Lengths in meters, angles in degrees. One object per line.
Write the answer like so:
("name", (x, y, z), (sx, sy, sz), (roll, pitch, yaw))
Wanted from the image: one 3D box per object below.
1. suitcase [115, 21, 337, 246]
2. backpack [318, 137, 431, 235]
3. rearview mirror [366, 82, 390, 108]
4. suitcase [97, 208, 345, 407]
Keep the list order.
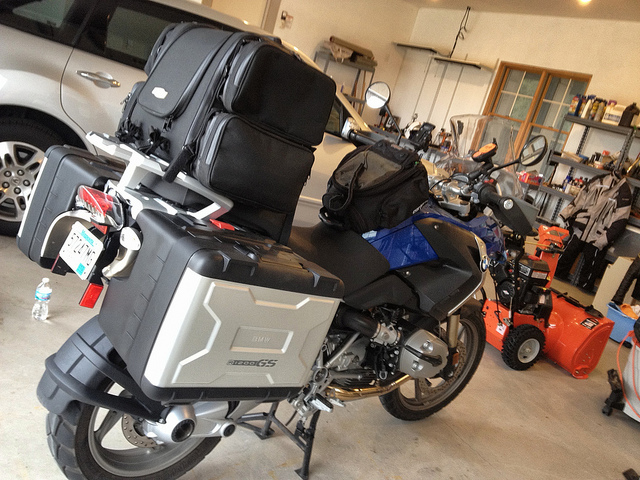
("suitcase", (-0.520, -0.588, 2.072), (0.690, 0.758, 0.556), (4, -28, 31))
("backpack", (0.278, -0.280, 2.344), (0.493, 0.283, 0.666), (25, 49, 34))
("rearview mirror", (0.319, -0.803, 2.512), (0.123, 0.141, 0.076), (17, 13, 0))
("suitcase", (-0.348, 0.250, 1.870), (0.690, 0.611, 0.511), (11, 17, -42))
